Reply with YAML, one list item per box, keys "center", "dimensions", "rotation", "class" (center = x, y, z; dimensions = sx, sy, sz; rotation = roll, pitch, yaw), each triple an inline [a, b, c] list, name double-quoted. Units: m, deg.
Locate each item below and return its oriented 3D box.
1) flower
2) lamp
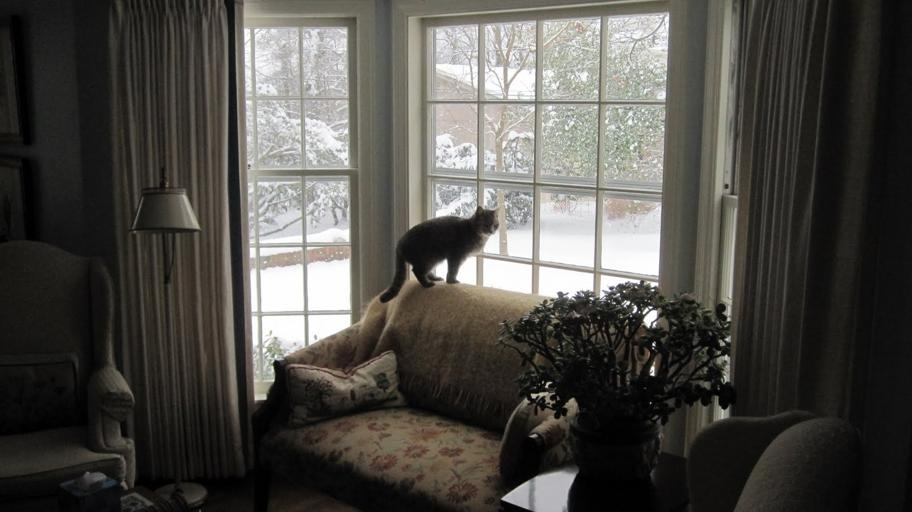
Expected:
- center: [0.792, 0.369, 3.316]
  dimensions: [1.153, 0.743, 0.788]
  rotation: [1, 22, 9]
  class: "flower"
- center: [-1.700, 0.504, 4.140]
  dimensions: [0.403, 2.044, 0.986]
  rotation: [-2, 12, -24]
  class: "lamp"
